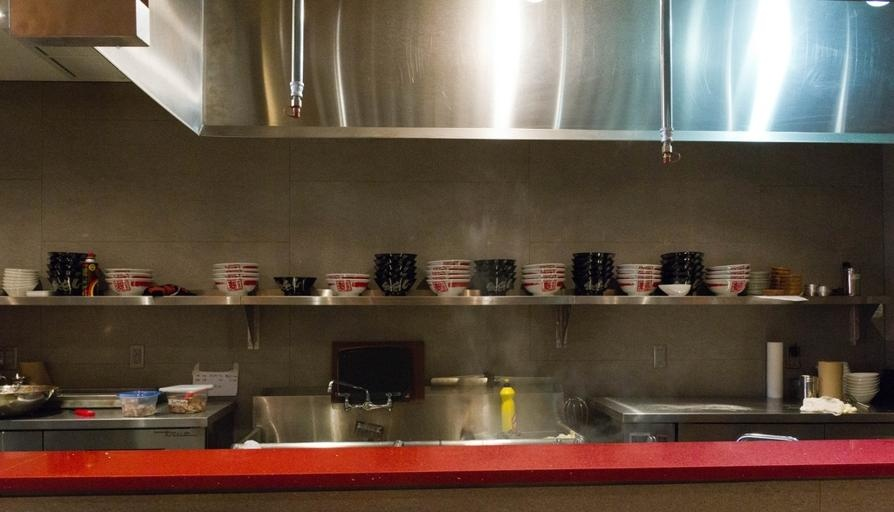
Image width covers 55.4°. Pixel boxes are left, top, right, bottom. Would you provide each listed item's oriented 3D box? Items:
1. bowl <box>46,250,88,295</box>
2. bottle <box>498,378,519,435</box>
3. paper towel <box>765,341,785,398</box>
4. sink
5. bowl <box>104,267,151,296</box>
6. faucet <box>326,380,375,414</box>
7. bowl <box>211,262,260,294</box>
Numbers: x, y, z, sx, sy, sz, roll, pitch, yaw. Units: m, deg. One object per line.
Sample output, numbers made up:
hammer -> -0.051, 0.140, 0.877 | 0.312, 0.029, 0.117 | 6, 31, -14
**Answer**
bowl -> -2.524, 0.117, 5.679 | 0.264, 0.297, 0.144 | -2, -3, 21
bottle -> 0.409, 1.015, 5.766 | 0.115, 0.331, 0.283 | -1, -3, 3
paper towel -> 2.266, 0.797, 5.930 | 0.109, 0.386, 0.099 | -1, -3, 16
sink -> -0.242, 1.031, 5.679 | 2.113, 0.417, 0.448 | 0, -3, -1
bowl -> -2.097, 0.170, 5.598 | 0.243, 0.108, 0.212 | 0, -3, 3
faucet -> -0.658, 0.946, 5.776 | 0.364, 0.203, 0.125 | -1, -3, 7
bowl -> -1.407, 0.150, 5.709 | 0.277, 0.224, 0.227 | 0, -3, -7
